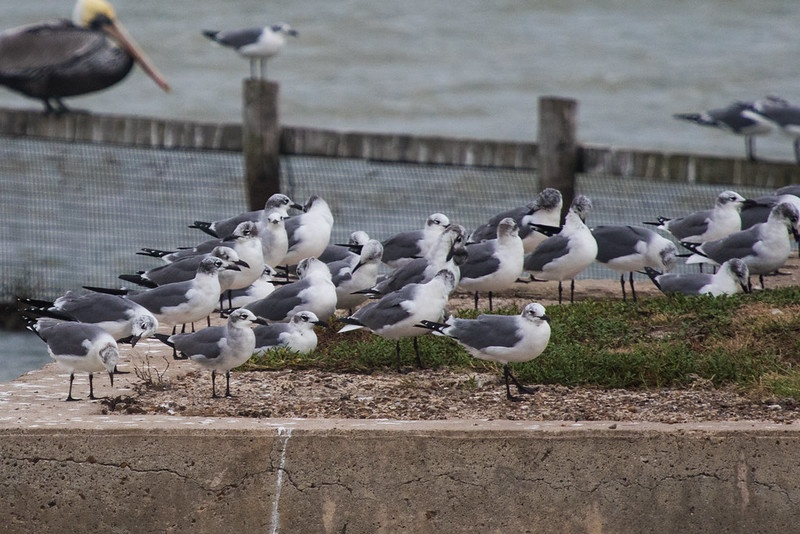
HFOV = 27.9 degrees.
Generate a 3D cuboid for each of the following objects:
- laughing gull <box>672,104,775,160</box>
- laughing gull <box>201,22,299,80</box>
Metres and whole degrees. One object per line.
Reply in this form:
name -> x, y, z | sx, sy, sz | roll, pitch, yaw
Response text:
laughing gull -> 6.915, -3.019, 34.006 | 2.372, 1.159, 0.624 | 9, -27, -17
laughing gull -> -3.059, -4.548, 33.388 | 2.378, 1.088, 0.879 | 9, 17, 32
